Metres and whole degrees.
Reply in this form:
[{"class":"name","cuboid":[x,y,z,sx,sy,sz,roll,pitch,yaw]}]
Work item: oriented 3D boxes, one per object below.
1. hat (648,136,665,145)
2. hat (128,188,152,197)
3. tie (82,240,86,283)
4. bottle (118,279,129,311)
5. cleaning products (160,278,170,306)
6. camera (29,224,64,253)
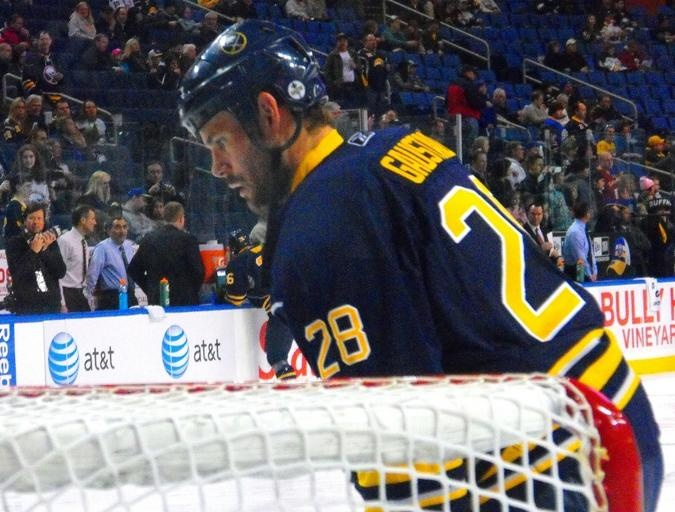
[{"class":"hat","cuboid":[3.820,-1.402,17.499,0.143,0.074,0.102,-14,22,-15]},{"class":"hat","cuboid":[-2.030,-0.657,14.859,0.140,0.068,0.098,-7,9,-24]},{"class":"tie","cuboid":[-2.532,0.038,14.638,0.045,0.413,0.073,-1,5,-9]},{"class":"bottle","cuboid":[-2.150,0.367,14.758,0.057,0.296,0.128,3,6,35]},{"class":"cleaning products","cuboid":[-1.750,0.348,14.788,0.112,0.284,0.081,0,5,4]},{"class":"camera","cuboid":[-2.889,-0.178,14.468,0.082,0.196,0.284,-47,7,47]}]
